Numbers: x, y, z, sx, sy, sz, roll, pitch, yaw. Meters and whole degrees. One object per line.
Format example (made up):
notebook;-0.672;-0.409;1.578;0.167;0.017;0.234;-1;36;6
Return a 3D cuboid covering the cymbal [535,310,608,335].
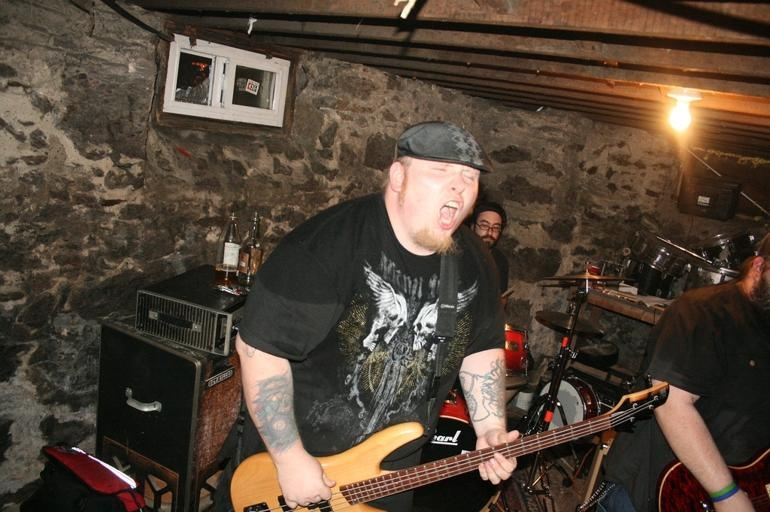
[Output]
cymbal;1.790;0.663;5.263;0.354;0.065;0.345;14;2;-5

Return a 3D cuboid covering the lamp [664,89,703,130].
lamp;2.413;-1.231;4.429;0.295;0.304;0.311;5;-7;30

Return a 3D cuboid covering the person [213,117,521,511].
person;-0.008;0.307;2.861;1.460;2.054;0.461;6;10;-14

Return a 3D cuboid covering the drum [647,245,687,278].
drum;3.295;0.066;6.484;0.405;0.272;0.332;31;1;1

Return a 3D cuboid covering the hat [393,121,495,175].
hat;0.290;-0.572;2.774;0.340;0.122;0.339;22;14;30

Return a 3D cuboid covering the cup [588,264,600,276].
cup;2.257;0.154;5.854;0.131;0.087;0.124;13;5;-1
